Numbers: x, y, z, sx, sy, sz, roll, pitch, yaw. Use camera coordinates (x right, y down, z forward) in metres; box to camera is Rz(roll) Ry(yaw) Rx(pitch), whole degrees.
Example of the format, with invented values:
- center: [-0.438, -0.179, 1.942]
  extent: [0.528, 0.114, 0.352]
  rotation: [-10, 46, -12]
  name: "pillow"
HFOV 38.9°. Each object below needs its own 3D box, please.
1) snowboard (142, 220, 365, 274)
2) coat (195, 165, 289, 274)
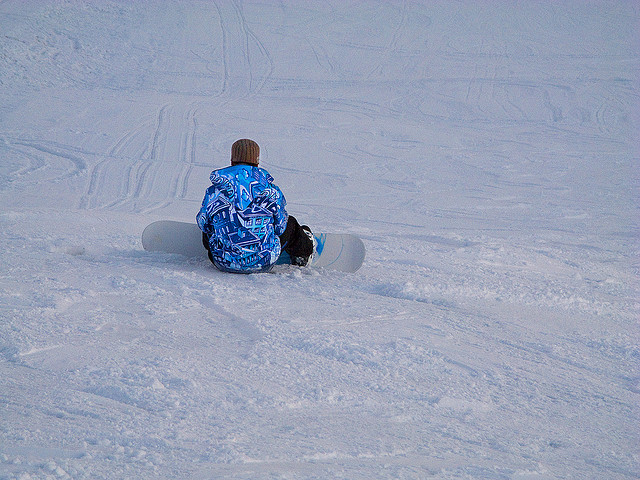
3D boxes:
- center: [-0.729, -0.003, 9.463]
  extent: [0.410, 0.500, 3.158]
  rotation: [1, 1, -36]
  name: "snowboard"
- center: [-0.767, -0.220, 9.084]
  extent: [1.296, 0.938, 0.365]
  rotation: [2, 0, -8]
  name: "coat"
